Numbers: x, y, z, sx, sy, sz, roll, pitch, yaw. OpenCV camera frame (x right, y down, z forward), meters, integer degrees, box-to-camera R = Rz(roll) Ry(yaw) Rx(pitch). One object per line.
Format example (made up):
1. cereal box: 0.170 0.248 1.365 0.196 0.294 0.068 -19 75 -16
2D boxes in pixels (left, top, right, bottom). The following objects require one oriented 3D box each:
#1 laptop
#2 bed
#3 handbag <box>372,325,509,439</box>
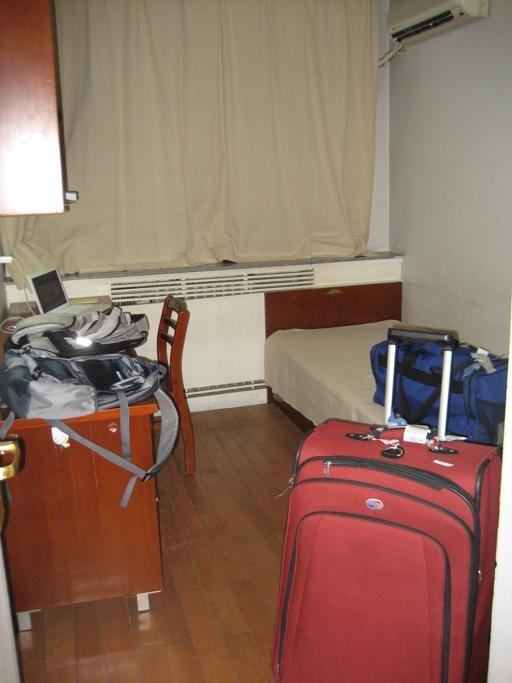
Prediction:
1. laptop: -0.863 -0.294 2.401 0.254 0.192 0.288 -3 16 -8
2. bed: 0.539 0.060 3.349 0.817 0.589 0.877 -6 17 -19
3. handbag: 0.581 0.141 1.654 0.138 0.299 0.291 -16 23 -31
